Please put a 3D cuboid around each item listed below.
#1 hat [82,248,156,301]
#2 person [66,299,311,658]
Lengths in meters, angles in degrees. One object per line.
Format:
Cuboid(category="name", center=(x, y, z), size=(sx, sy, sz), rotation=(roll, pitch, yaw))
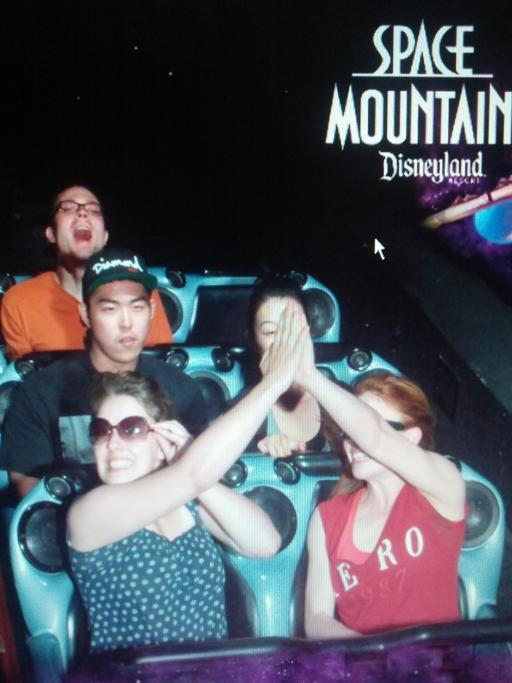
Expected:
Cuboid(category="hat", center=(-0.346, -0.160, 1.610), size=(0.167, 0.124, 0.229), rotation=(2, 4, -5))
Cuboid(category="person", center=(-0.245, 0.447, 1.701), size=(0.697, 1.203, 0.338), rotation=(-5, 24, -15))
